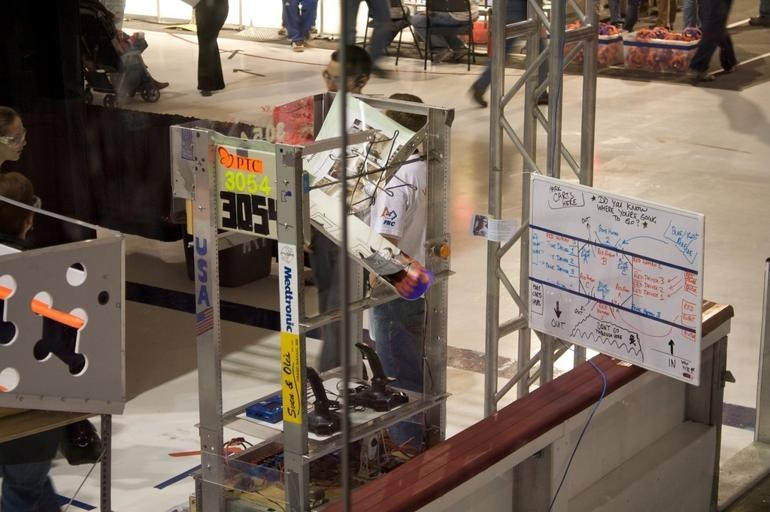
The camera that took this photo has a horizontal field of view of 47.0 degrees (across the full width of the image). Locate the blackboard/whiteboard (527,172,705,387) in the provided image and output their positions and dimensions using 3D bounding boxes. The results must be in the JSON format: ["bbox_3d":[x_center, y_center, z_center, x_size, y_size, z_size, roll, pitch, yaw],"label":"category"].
[{"bbox_3d":[1.167,0.170,4.591,1.368,1.166,0.053,15,23,41],"label":"blackboard/whiteboard"}]

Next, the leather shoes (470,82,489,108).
[{"bbox_3d":[1.291,-2.201,12.177,0.089,0.249,0.347,-22,-23,-1],"label":"leather shoes"}]
